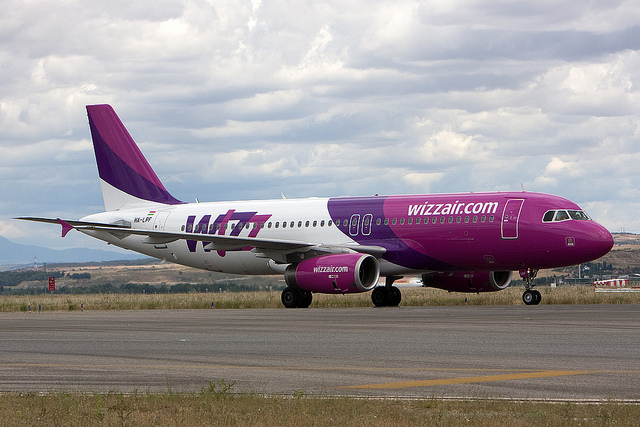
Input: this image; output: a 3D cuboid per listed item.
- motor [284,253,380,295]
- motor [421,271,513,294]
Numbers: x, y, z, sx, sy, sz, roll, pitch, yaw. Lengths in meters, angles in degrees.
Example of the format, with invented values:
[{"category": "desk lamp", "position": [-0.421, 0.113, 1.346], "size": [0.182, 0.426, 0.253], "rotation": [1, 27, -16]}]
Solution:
[{"category": "motor", "position": [0.550, 2.507, 36.913], "size": [4.170, 1.650, 2.146], "rotation": [-4, -2, 39]}, {"category": "motor", "position": [6.472, 2.918, 38.735], "size": [3.399, 1.168, 1.475], "rotation": [-1, 26, 14]}]
